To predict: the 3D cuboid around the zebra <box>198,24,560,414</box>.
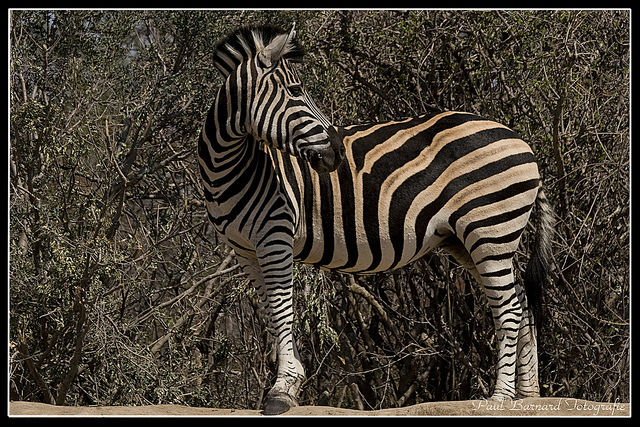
[{"bbox_3d":[0.509,0.127,6.805,3.345,3.027,1.691,2,-3,-14],"label":"zebra"}]
